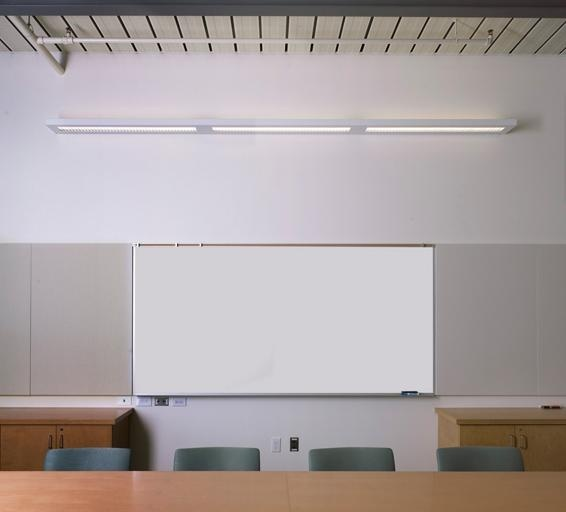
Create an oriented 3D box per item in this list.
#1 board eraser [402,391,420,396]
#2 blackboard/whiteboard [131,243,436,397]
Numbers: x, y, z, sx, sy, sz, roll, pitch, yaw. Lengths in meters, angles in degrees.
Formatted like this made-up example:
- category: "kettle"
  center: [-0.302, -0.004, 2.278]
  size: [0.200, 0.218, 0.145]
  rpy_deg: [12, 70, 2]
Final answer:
- category: "board eraser"
  center: [1.169, 1.265, 4.955]
  size: [0.166, 0.042, 0.019]
  rpy_deg: [0, 0, -4]
- category: "blackboard/whiteboard"
  center: [0.004, 0.602, 5.038]
  size: [2.860, 1.282, 0.106]
  rpy_deg: [-1, -4, 9]
